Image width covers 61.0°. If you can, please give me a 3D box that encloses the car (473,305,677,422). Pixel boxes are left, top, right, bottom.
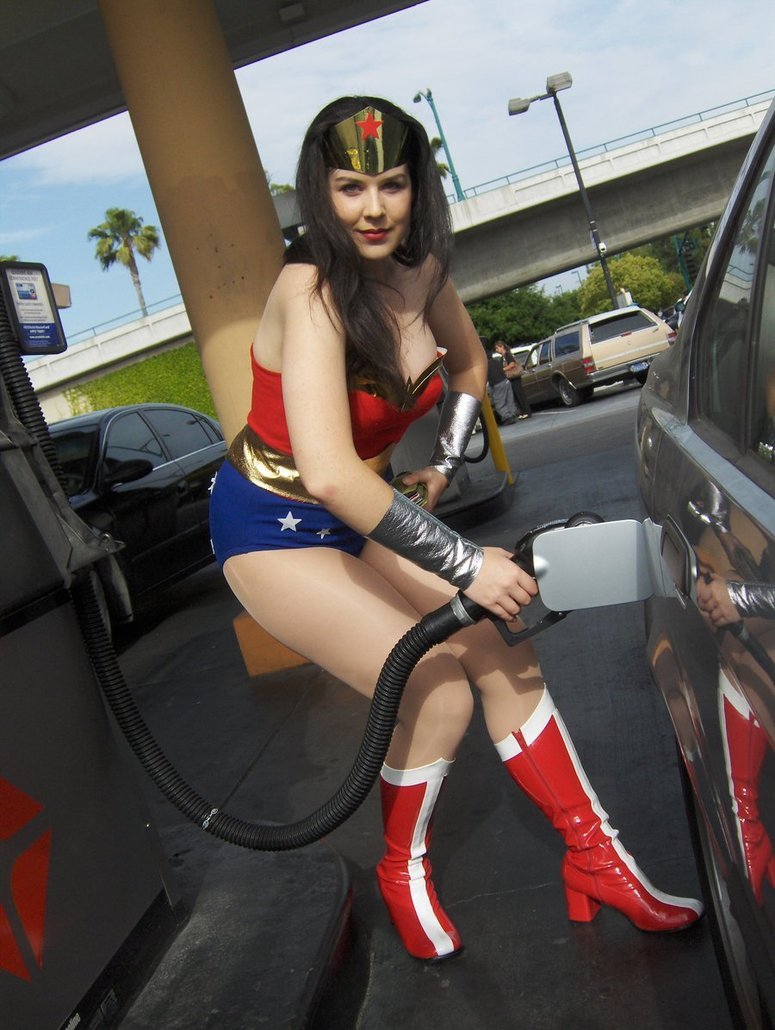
[{"bbox_3d":[4.400,-3.042,14.455,2.884,2.048,5.919,-17,18,-8],"label":"car"}]
